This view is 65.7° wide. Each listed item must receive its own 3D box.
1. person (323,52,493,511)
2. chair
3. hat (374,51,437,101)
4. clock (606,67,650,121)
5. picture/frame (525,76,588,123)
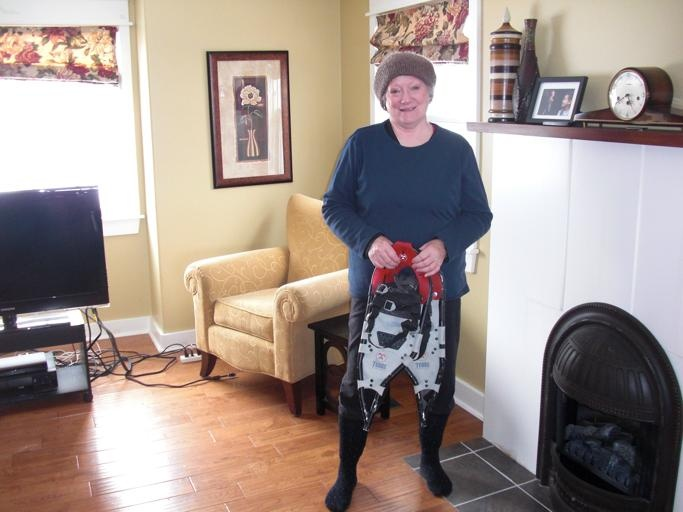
[{"bbox_3d":[0.262,0.157,2.251,0.712,1.960,0.360,2,13,13],"label":"person"},{"bbox_3d":[-0.371,0.251,3.553,1.268,1.224,1.277,1,9,-10],"label":"chair"},{"bbox_3d":[0.256,-0.747,2.199,0.181,0.218,0.103,2,13,8],"label":"hat"},{"bbox_3d":[1.055,-0.595,1.948,0.039,0.188,0.171,-4,14,-12],"label":"clock"},{"bbox_3d":[0.939,-0.674,2.283,0.032,0.220,0.249,23,-4,-34],"label":"picture/frame"}]
